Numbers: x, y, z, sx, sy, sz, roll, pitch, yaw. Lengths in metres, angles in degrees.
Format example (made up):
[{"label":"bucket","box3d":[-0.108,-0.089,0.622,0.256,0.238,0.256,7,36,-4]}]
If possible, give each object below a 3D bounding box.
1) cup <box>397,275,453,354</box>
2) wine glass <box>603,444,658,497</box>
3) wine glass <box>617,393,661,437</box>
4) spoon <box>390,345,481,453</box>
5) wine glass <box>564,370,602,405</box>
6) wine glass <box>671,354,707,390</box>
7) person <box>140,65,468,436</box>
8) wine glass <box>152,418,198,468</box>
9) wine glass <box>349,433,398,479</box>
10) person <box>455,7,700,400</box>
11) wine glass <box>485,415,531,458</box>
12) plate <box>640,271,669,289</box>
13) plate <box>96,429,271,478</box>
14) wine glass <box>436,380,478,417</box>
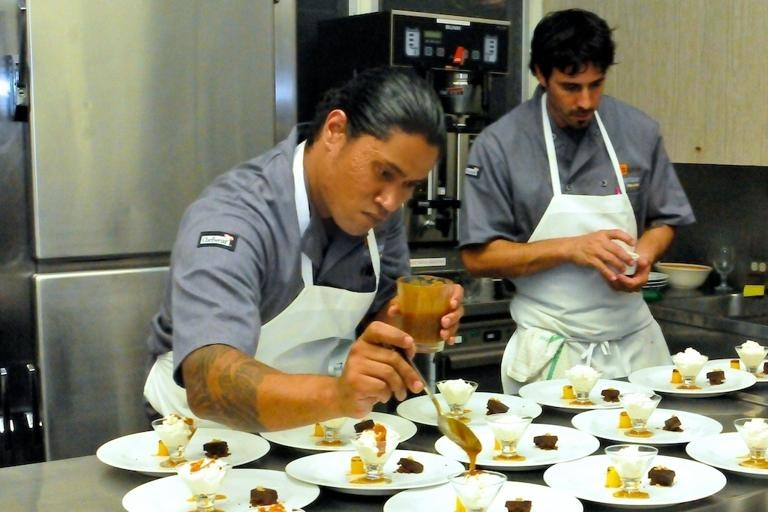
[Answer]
[{"label":"cup","box3d":[0.120,0.166,1.933,0.159,0.211,0.160,0,9,0]},{"label":"wine glass","box3d":[0.639,0.543,1.766,0.139,0.102,0.136,0,-1,0]},{"label":"wine glass","box3d":[0.806,0.497,2.123,0.150,0.115,0.148,-2,-6,20]},{"label":"spoon","box3d":[0.166,0.482,2.270,0.079,0.535,0.113,-34,1,29]},{"label":"wine glass","box3d":[0.698,0.462,2.367,0.125,0.108,0.123,-7,-18,42]},{"label":"wine glass","box3d":[1.097,0.408,2.424,0.130,0.127,0.122,0,-2,1]},{"label":"person","box3d":[-0.230,-0.036,2.024,0.796,1.034,0.845,-2,9,-12]},{"label":"wine glass","box3d":[-0.583,0.510,1.896,0.142,0.131,0.129,0,-2,-4]},{"label":"wine glass","box3d":[-0.029,0.518,1.826,0.137,0.124,0.121,0,-1,-3]},{"label":"person","box3d":[0.805,-0.197,2.821,0.963,1.614,0.522,2,9,9]},{"label":"wine glass","box3d":[0.363,0.510,1.955,0.124,0.088,0.121,0,-2,-1]},{"label":"plate","box3d":[1.456,0.128,3.622,0.141,0.051,0.132,-1,9,0]},{"label":"plate","box3d":[-0.547,0.553,1.965,0.448,0.042,0.428,5,-2,12]},{"label":"wine glass","box3d":[0.243,0.475,2.279,0.132,0.082,0.125,1,-2,-30]}]
